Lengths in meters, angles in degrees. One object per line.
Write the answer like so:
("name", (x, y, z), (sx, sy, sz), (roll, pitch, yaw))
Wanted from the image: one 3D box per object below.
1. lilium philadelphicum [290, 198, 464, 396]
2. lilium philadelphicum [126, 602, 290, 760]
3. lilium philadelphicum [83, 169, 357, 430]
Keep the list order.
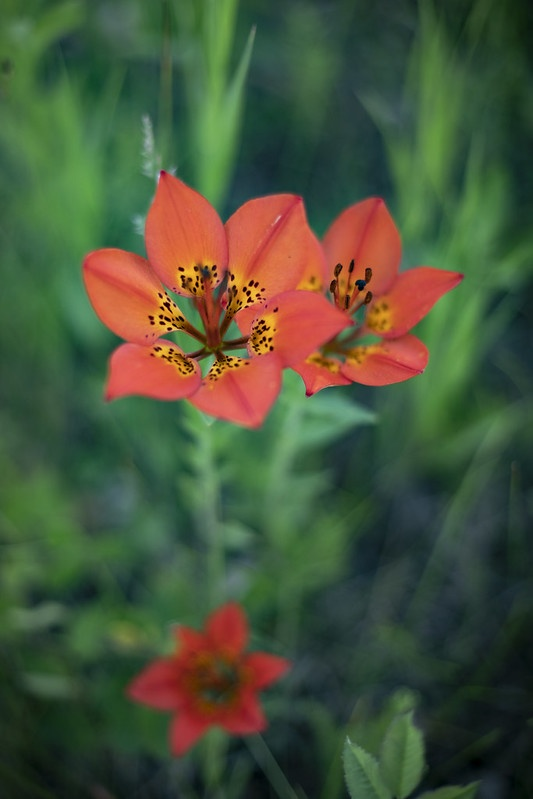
("lilium philadelphicum", (0.039, -0.034, 0.266), (0.065, 0.035, 0.061), (-31, 77, -6))
("lilium philadelphicum", (-0.010, 0.063, 0.168), (0.038, 0.008, 0.031), (15, 78, -22))
("lilium philadelphicum", (-0.015, -0.024, 0.199), (0.074, 0.047, 0.083), (-1, 46, -10))
